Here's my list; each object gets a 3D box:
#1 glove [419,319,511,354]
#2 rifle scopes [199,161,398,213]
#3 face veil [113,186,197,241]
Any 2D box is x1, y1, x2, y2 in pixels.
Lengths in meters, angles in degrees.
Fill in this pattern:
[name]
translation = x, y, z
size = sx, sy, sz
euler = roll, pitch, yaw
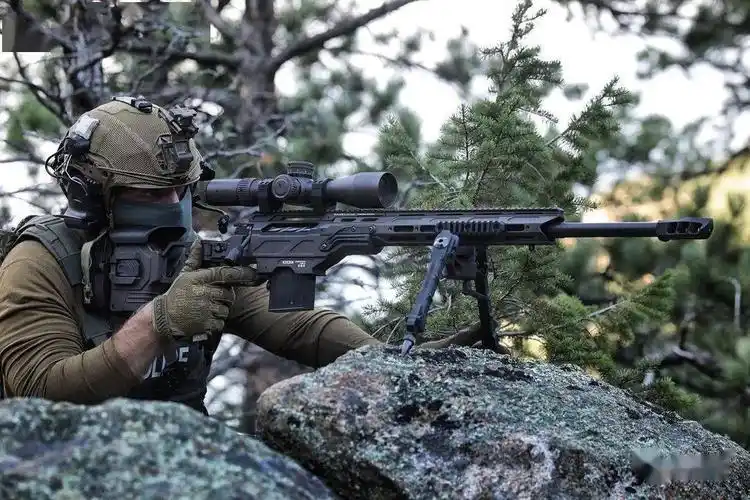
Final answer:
[glove]
translation = 0.765, 0.749, 8.660
size = 0.766, 0.211, 0.184
euler = -10, -40, 3
[rifle scopes]
translation = -0.707, -0.511, 8.654
size = 1.649, 0.521, 0.546
euler = -1, -10, 13
[face veil]
translation = -2.019, -0.332, 8.993
size = 0.571, 0.330, 0.445
euler = -3, -2, 6
